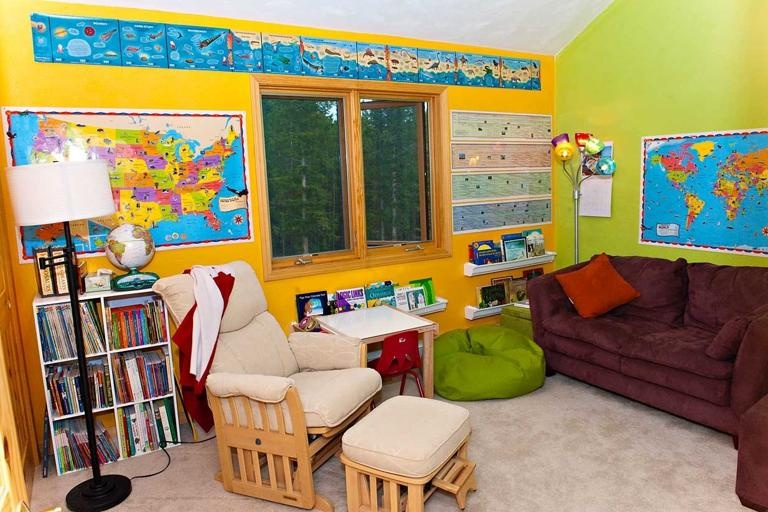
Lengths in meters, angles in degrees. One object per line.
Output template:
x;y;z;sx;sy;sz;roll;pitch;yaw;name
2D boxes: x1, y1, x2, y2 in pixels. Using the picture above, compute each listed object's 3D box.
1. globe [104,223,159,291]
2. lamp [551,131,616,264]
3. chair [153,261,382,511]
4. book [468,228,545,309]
-1.994;-0.014;4.319;0.421;0.520;0.425;2;10;45;globe
2.106;-0.608;5.792;0.602;1.374;0.587;0;13;18;lamp
-0.683;0.938;3.987;1.101;1.465;0.870;1;13;23;chair
1.238;0.146;5.725;0.832;0.588;0.264;-8;9;-33;book
